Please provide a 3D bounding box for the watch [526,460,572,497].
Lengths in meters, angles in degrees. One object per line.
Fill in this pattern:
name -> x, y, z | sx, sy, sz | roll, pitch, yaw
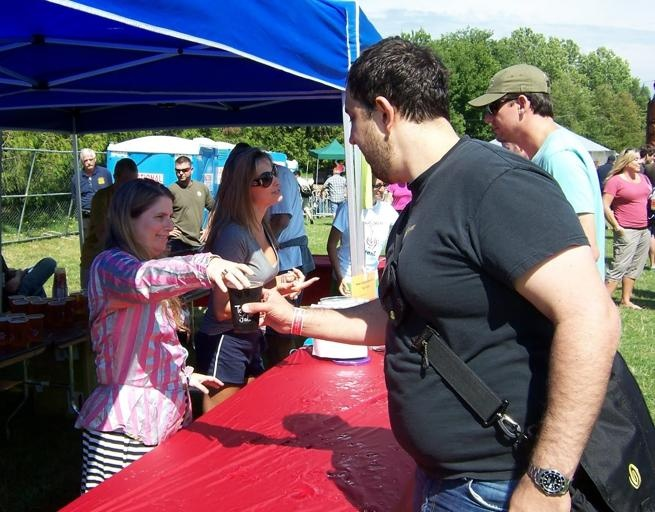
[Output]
watch -> 0.567, 0.569, 1.464 | 0.073, 0.079, 0.031 | -32, 9, 44

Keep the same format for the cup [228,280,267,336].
cup -> -0.304, 0.203, 2.269 | 0.161, 0.197, 0.156 | 0, 5, 0

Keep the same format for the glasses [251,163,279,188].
glasses -> -0.378, -0.464, 3.449 | 0.122, 0.041, 0.118 | -25, -3, -42

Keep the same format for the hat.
hat -> 1.002, -0.919, 3.110 | 0.327, 0.194, 0.235 | 4, 12, 16
